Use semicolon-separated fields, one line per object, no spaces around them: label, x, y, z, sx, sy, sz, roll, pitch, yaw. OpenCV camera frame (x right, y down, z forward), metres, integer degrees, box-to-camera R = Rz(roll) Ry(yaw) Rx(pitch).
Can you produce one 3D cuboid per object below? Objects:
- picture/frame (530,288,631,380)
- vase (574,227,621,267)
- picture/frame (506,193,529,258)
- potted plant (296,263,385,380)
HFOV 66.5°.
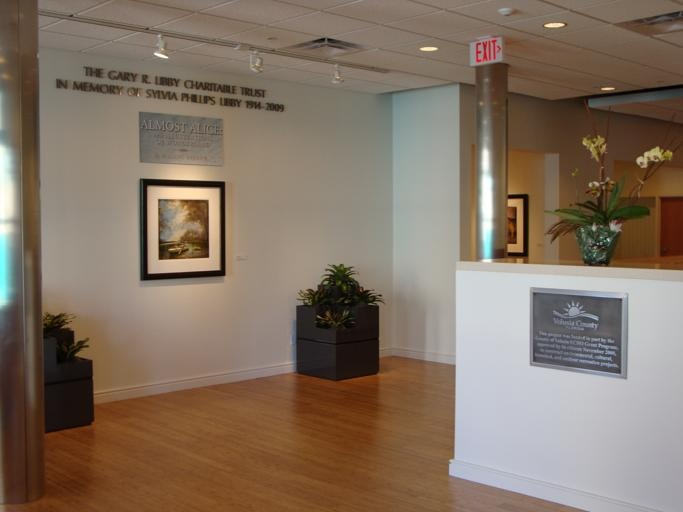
picture/frame;1.686;0.535;3.622;0.688;0.572;0.074;1;1;44
vase;1.907;-0.075;3.900;0.279;0.289;0.321;-1;-5;28
picture/frame;3.196;-0.570;9.428;0.214;1.108;0.388;-4;5;-42
potted plant;-0.059;0.952;7.459;1.158;1.542;0.703;-1;4;-7
